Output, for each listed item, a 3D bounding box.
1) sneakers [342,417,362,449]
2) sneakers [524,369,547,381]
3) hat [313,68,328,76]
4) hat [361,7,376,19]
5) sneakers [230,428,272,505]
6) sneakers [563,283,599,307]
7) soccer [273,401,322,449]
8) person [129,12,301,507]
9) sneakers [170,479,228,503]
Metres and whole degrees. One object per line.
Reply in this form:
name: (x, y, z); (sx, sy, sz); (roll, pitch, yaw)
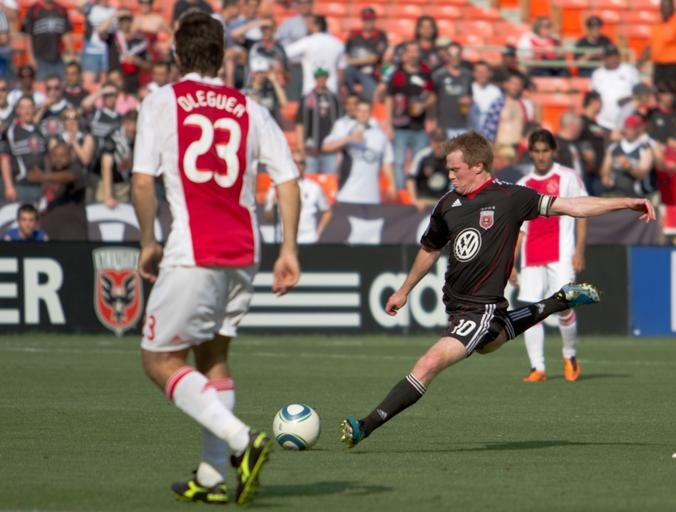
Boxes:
sneakers: (0.114, 1.443, 11.224); (0.139, 0.112, 0.307); (-8, -35, -5)
sneakers: (2.066, 1.276, 14.589); (0.116, 0.098, 0.219); (-6, -5, 29)
hat: (-0.216, -2.455, 18.621); (0.195, 0.118, 0.284); (3, 7, -1)
hat: (0.412, -3.393, 19.457); (0.194, 0.198, 0.053); (4, 2, -14)
sneakers: (-0.626, 1.523, 10.077); (0.275, 0.579, 0.196); (12, 22, 5)
sneakers: (2.219, 0.345, 12.732); (0.317, 0.185, 0.126); (-2, 36, -4)
soccer: (-0.394, 1.406, 11.433); (0.363, 0.353, 0.363); (31, -16, -24)
person: (-0.915, -0.022, 10.301); (1.075, 3.520, 0.736); (6, 7, 22)
sneakers: (-1.014, 1.772, 10.401); (0.446, 0.210, 0.163); (4, -7, 13)
